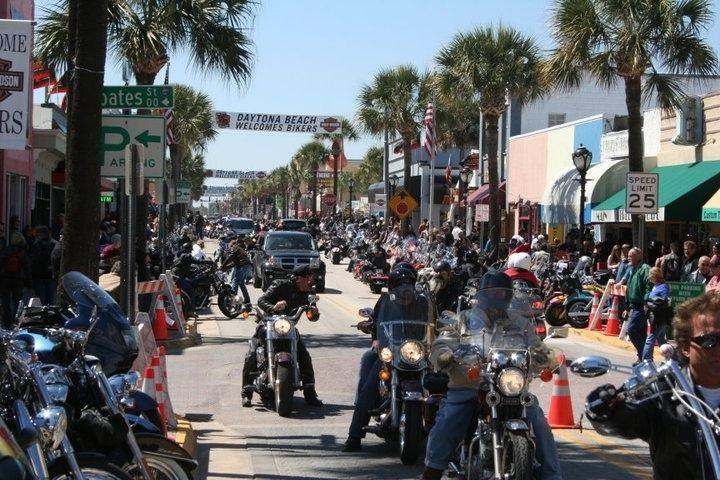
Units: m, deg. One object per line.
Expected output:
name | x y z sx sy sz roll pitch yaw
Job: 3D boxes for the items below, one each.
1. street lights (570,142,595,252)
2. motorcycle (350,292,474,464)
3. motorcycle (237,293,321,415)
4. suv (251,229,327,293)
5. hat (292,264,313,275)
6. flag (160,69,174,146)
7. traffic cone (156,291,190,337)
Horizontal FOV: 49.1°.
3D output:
street lights | 7.638 -1.092 26.957 0.771 4.228 0.791 3 -4 -14
motorcycle | 0.472 1.577 9.536 0.928 1.727 2.090 0 0 0
motorcycle | -1.211 1.752 11.668 0.710 1.501 1.915 0 1 -21
suv | -2.707 0.648 28.897 1.770 1.812 3.749 1 -5 -10
hat | -1.002 0.520 13.729 0.278 0.162 0.381 -2 0 -9
flag | -6.182 -4.284 25.148 0.241 2.782 0.314 -10 -12 14
traffic cone | -4.434 1.689 17.914 0.822 1.077 0.938 -2 -4 10
